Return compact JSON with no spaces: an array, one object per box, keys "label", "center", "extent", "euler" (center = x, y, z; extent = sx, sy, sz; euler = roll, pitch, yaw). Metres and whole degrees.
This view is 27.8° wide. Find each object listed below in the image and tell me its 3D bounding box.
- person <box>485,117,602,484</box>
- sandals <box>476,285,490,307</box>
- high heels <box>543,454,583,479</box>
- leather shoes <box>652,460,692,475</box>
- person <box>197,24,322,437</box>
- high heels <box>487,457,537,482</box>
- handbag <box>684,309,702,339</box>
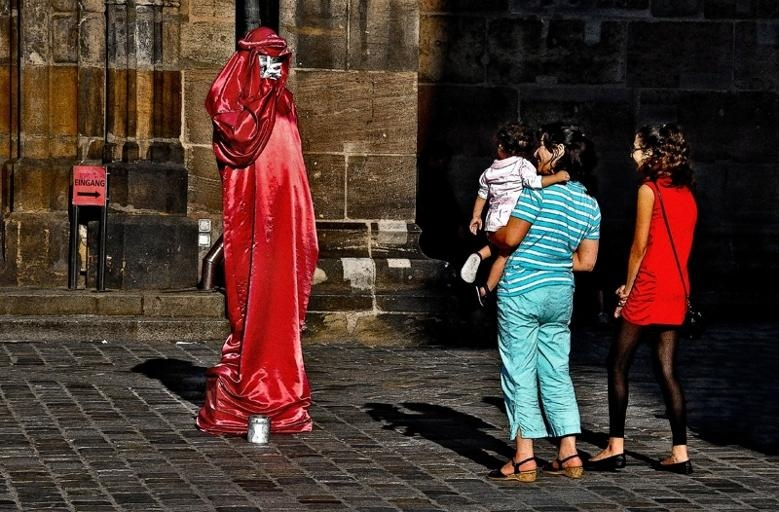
[{"label":"person","center":[1.195,0.348,11.982],"extent":[0.859,2.716,0.483],"euler":[-1,8,-5]},{"label":"sandals","center":[0.709,0.301,12.023],"extent":[0.133,0.198,0.095],"euler":[-2,-5,8]},{"label":"high heels","center":[1.365,1.624,12.064],"extent":[0.371,0.115,0.152],"euler":[3,2,31]},{"label":"leather shoes","center":[2.237,1.637,12.211],"extent":[0.323,0.074,0.103],"euler":[5,5,27]},{"label":"person","center":[-1.075,-0.203,12.882],"extent":[0.962,3.319,0.607],"euler":[0,8,-3]},{"label":"high heels","center":[0.989,1.626,12.008],"extent":[0.411,0.119,0.167],"euler":[1,0,14]},{"label":"handbag","center":[2.392,0.534,12.246],"extent":[0.118,0.195,0.189],"euler":[4,2,-26]}]
